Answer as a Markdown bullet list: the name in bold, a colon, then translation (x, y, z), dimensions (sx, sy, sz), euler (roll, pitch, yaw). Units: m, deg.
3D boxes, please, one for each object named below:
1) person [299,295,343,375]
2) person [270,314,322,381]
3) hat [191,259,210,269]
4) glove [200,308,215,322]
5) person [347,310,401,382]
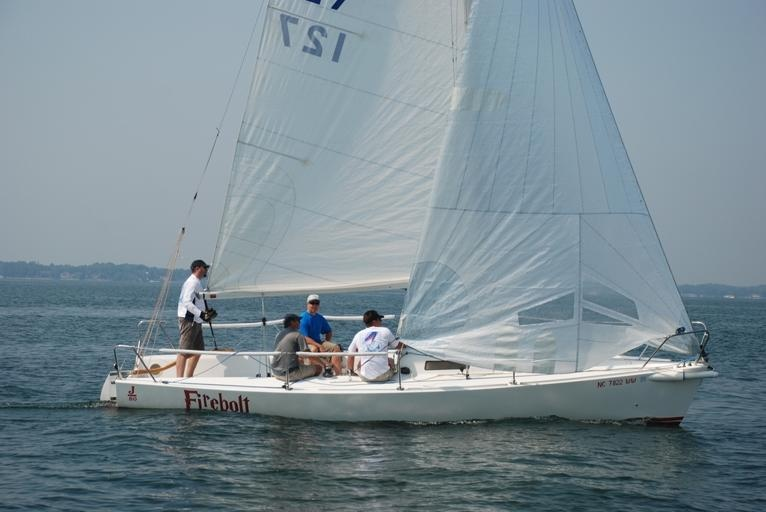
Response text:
- **person**: translation (-1.193, 1.543, 15.158), dimensions (0.762, 1.549, 0.924), euler (-3, 5, -44)
- **person**: translation (-1.530, 1.632, 14.436), dimensions (0.883, 1.196, 0.632), euler (1, -2, -8)
- **hat**: translation (-2.767, 0.128, 12.164), dimensions (0.273, 0.137, 0.178), euler (-4, 1, -23)
- **glove**: translation (-3.201, 1.058, 14.778), dimensions (0.212, 0.102, 0.253), euler (1, -22, -40)
- **person**: translation (-0.130, 1.589, 14.411), dimensions (0.935, 1.245, 0.869), euler (1, -2, -1)
